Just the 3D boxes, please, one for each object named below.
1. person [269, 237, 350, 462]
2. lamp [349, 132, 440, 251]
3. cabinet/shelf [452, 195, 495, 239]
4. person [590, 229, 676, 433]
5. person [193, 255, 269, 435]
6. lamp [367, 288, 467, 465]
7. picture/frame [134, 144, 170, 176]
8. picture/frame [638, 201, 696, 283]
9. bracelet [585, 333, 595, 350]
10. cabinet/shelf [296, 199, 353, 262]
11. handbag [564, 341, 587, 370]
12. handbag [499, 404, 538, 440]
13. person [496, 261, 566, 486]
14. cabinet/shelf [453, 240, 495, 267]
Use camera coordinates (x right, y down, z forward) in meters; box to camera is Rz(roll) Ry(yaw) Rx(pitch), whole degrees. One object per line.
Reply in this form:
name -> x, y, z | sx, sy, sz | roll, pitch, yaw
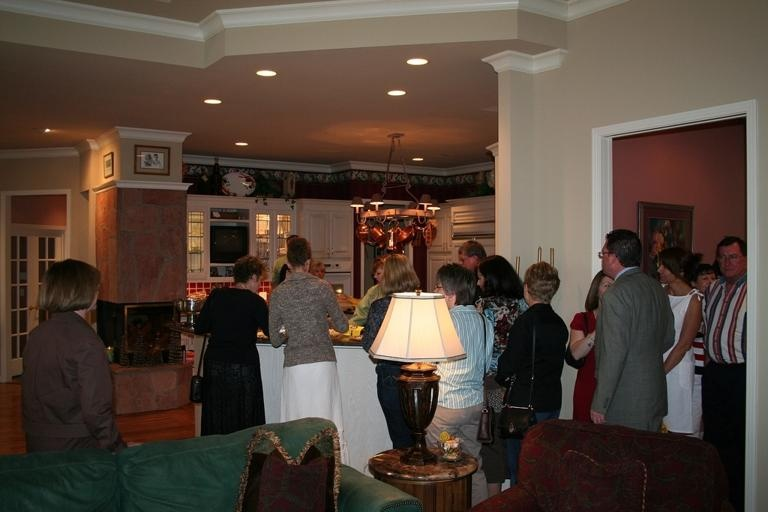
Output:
person -> -0.622, 0.846, 5.381 | 0.657, 1.995, 0.575 | 2, 17, 4
lamp -> 0.167, -0.778, 7.728 | 1.042, 1.524, 1.234 | 2, 2, 26
cabinet/shelf -> 1.477, -0.522, 10.128 | 0.762, 0.743, 0.392 | -3, -7, 17
person -> 1.680, 0.510, 4.347 | 0.699, 1.376, 0.302 | 0, 1, -26
person -> -1.280, 0.744, 5.273 | 0.610, 1.488, 0.315 | 0, 1, -13
lamp -> 0.227, 0.788, 4.193 | 0.660, 1.100, 0.686 | 7, -1, -38
picture/frame -> -2.962, -1.210, 7.966 | 0.409, 0.365, 0.028 | 1, -5, -30
picture/frame -> 2.550, -0.131, 5.747 | 0.028, 0.568, 0.785 | -3, -5, 43
bracelet -> 1.472, 0.608, 4.500 | 0.074, 0.106, 0.058 | 3, 5, -17
cabinet/shelf -> -0.931, -0.413, 9.600 | 1.007, 1.200, 0.457 | 0, -1, -32
handbag -> 1.385, 0.753, 4.626 | 0.148, 0.295, 0.219 | 0, 1, 7
handbag -> 0.923, 1.161, 4.400 | 0.102, 0.238, 0.257 | 18, -19, -37
person -> 1.058, 1.004, 4.697 | 0.556, 1.883, 0.485 | -2, 12, -15
cabinet/shelf -> 0.832, -0.015, 5.938 | 0.276, 0.424, 0.286 | 2, 6, 31
